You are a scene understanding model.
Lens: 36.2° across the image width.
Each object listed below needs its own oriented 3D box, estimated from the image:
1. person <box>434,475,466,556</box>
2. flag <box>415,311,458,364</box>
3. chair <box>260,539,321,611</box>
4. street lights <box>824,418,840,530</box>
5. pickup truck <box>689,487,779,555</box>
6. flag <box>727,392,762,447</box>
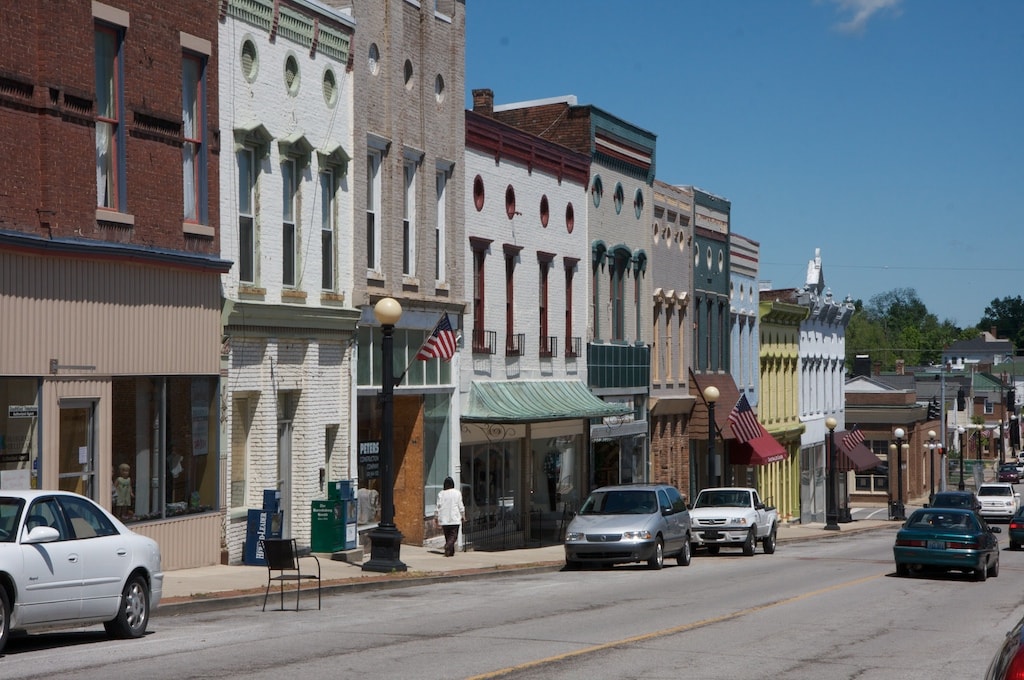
[{"bbox_3d":[-1.717,4.684,41.942,0.597,2.043,0.764,-2,-7,17],"label":"person"},{"bbox_3d":[-2.131,-0.090,42.232,1.281,1.577,0.206,0,-7,-21],"label":"flag"},{"bbox_3d":[-4.507,4.701,31.705,0.786,1.474,0.981,-3,-5,23],"label":"chair"},{"bbox_3d":[13.452,5.537,65.513,0.762,4.748,0.777,3,-10,-15],"label":"street lights"},{"bbox_3d":[6.758,5.506,48.292,2.353,2.106,4.668,-1,-5,24],"label":"pickup truck"},{"bbox_3d":[9.227,3.157,62.795,0.141,1.874,1.995,-6,-2,32],"label":"flag"}]
